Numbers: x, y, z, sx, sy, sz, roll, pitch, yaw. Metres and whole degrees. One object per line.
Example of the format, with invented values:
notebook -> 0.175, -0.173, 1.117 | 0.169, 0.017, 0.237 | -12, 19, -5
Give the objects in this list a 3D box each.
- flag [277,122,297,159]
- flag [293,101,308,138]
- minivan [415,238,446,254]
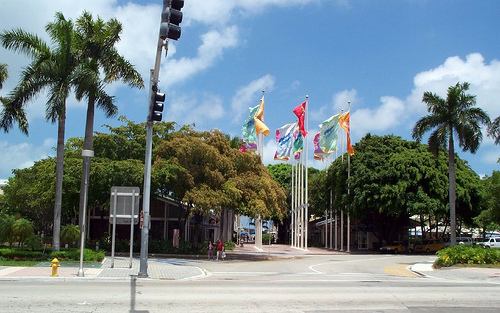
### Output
flag -> 4.743, -1.867, 63.600 | 2.318, 4.614, 1.244 | 1, -12, 1
flag -> 6.632, -5.009, 62.848 | 1.092, 4.366, 1.689 | -6, -15, 31
minivan -> 23.770, 11.876, 64.057 | 3.866, 1.837, 2.563 | 2, -8, -2
